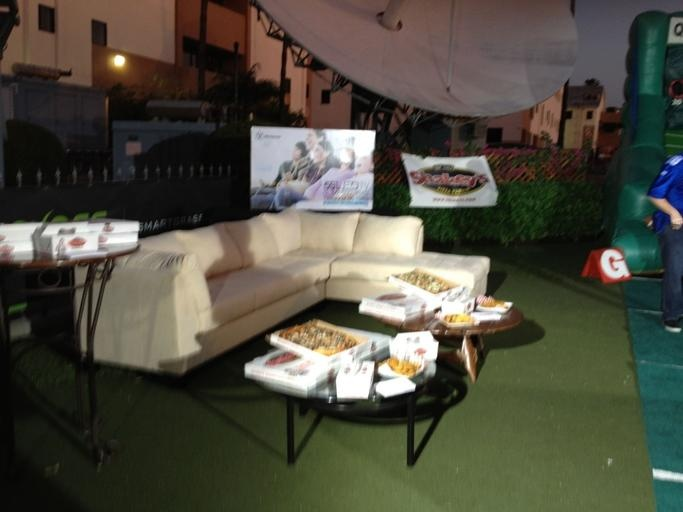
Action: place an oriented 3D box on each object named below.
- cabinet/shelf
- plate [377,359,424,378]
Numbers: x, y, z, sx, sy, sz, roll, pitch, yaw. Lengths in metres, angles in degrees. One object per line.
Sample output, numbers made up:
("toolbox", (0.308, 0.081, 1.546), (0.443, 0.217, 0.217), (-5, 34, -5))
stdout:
("cabinet/shelf", (-5.043, -2.502, 8.801), (0.834, 1.211, 2.278), (1, 14, 3))
("plate", (0.357, 0.690, 2.920), (0.275, 0.069, 0.167), (6, 15, 22))
